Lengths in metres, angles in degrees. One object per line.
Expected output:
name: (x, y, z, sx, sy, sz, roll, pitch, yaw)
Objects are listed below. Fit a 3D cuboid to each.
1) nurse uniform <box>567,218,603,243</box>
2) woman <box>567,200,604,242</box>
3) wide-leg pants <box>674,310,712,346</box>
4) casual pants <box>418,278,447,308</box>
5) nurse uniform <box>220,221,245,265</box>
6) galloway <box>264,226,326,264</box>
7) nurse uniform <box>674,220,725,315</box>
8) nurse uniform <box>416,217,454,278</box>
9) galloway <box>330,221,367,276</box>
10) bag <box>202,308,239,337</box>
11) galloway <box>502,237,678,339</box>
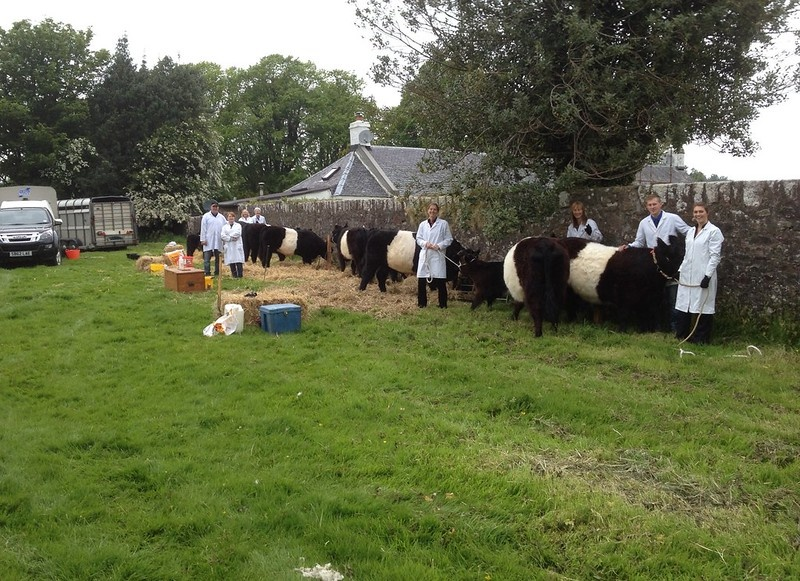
nurse uniform: (3.217, -1.015, 12.832, 0.564, 0.483, 0.400, 0, -5, 17)
woman: (3.277, -1.190, 12.916, 0.522, 0.711, 0.415, -13, 17, 18)
wide-leg pants: (4.402, 0.571, 11.037, 0.407, 0.291, 0.941, 14, 0, 29)
casual pants: (0.604, 0.060, 13.826, 0.507, 0.599, 0.180, -1, -2, 10)
nurse uniform: (-3.912, -1.077, 17.081, 0.481, 0.922, 0.511, 1, 6, -6)
galloway: (-2.744, -1.113, 19.585, 2.026, 1.147, 0.631, 3, 7, -25)
nurse uniform: (4.441, -0.327, 10.953, 0.573, 1.366, 0.346, 5, 7, 27)
nurse uniform: (0.619, -0.748, 13.519, 0.624, 1.083, 0.499, 2, 6, 1)
galloway: (-1.112, -0.870, 16.950, 0.597, 1.145, 2.039, -3, 7, -22)
bag: (-2.866, 0.537, 12.022, 0.528, 0.272, 0.413, -17, 23, -39)
galloway: (3.449, -0.154, 12.015, 2.585, 1.396, 0.787, 14, 9, 43)
